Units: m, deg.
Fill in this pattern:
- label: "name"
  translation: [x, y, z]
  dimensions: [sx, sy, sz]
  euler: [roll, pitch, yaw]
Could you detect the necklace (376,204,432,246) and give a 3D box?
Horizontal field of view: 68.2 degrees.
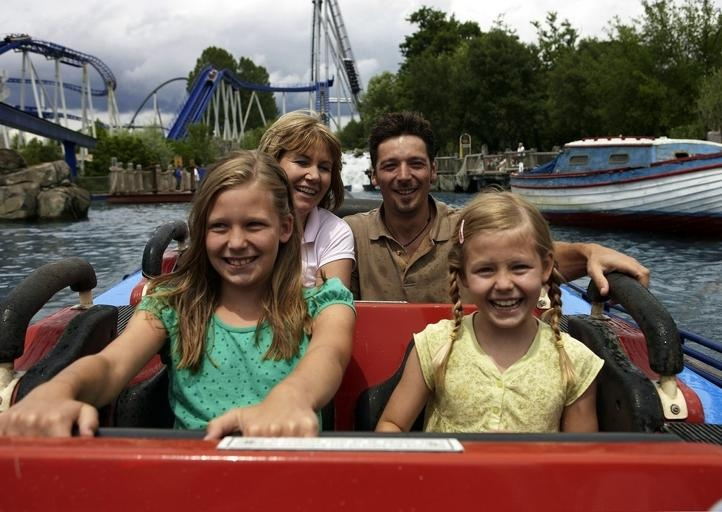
- label: "necklace"
  translation: [0.248, -0.195, 2.914]
  dimensions: [0.196, 0.272, 0.065]
  euler: [1, 7, 9]
